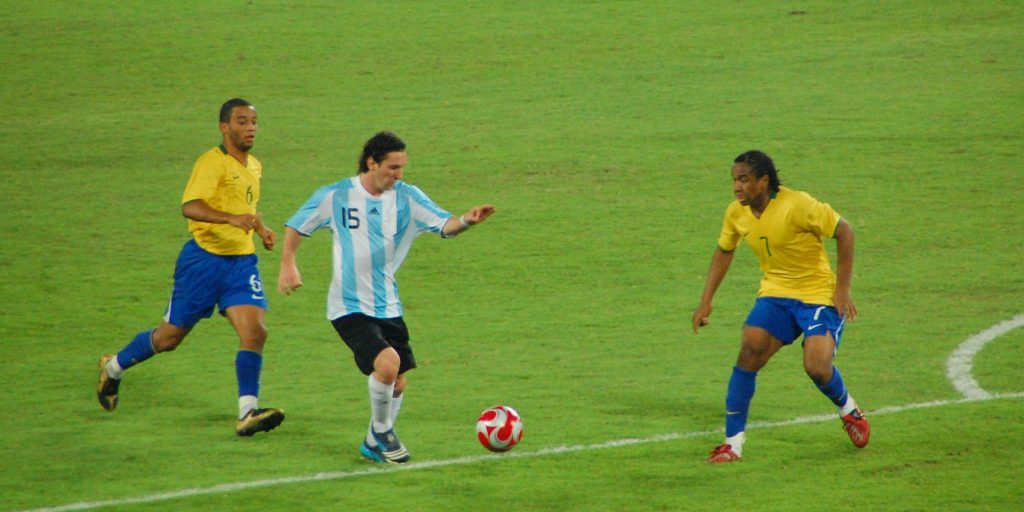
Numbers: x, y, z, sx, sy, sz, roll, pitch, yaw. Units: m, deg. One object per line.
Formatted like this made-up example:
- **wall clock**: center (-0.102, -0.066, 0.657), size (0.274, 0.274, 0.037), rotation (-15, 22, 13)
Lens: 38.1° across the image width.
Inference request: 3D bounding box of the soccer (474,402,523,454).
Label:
- **soccer**: center (-0.227, 2.413, 20.710), size (0.843, 0.626, 0.788), rotation (4, 7, -17)

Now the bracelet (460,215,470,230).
- **bracelet**: center (-0.678, -0.469, 20.247), size (0.154, 0.152, 0.178), rotation (-17, 30, -21)

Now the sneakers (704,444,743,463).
- **sneakers**: center (2.905, 2.743, 20.517), size (0.508, 0.147, 0.241), rotation (1, -3, -28)
